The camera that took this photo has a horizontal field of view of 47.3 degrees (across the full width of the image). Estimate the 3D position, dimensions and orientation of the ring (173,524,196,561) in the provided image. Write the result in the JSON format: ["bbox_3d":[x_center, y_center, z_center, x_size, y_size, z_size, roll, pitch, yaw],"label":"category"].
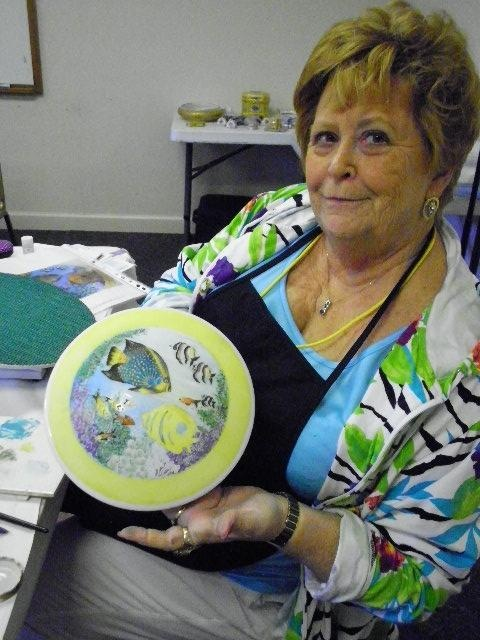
[{"bbox_3d":[-0.072,0.288,0.701,0.021,0.042,0.024,19,36,22],"label":"ring"}]

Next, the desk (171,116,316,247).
[{"bbox_3d":[-0.010,-0.724,3.034,0.714,0.656,0.692,-1,27,-4],"label":"desk"}]

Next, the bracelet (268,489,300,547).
[{"bbox_3d":[0.062,0.270,0.740,0.032,0.062,0.058,8,33,6],"label":"bracelet"}]
